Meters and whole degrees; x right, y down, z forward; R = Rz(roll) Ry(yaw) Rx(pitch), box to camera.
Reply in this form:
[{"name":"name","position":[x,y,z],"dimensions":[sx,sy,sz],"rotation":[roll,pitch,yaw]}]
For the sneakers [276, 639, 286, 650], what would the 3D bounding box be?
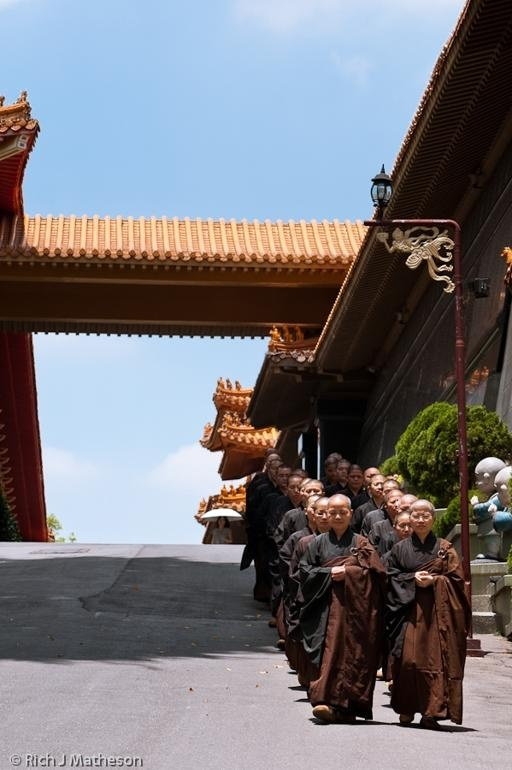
[{"name":"sneakers","position":[0.232,2.372,8.026],"dimensions":[0.104,0.079,0.120],"rotation":[2,-19,-5]}]
